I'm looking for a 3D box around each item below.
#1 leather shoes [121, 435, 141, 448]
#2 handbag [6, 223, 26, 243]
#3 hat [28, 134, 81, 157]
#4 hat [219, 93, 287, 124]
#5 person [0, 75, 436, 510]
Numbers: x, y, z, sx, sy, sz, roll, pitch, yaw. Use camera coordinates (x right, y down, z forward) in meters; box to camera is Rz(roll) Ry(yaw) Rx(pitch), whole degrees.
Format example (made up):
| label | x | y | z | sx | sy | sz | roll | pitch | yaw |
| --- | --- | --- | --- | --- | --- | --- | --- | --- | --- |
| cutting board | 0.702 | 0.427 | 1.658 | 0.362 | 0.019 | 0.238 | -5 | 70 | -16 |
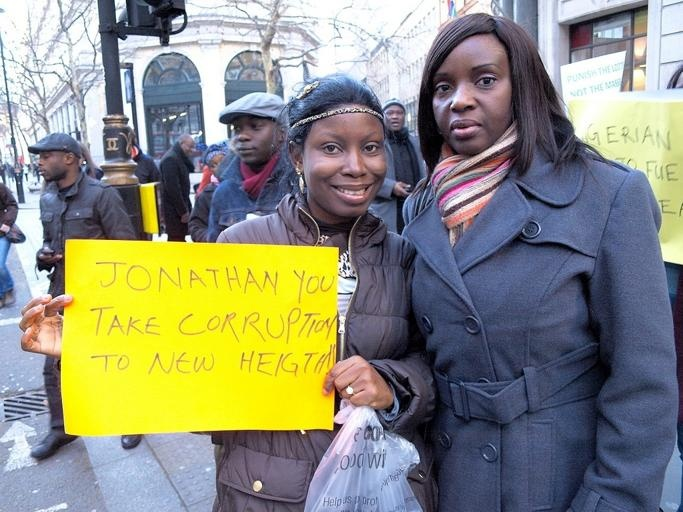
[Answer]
| label | x | y | z | sx | sy | sz | roll | pitch | yaw |
| --- | --- | --- | --- | --- | --- | --- | --- | --- | --- |
| leather shoes | -1.535 | 1.332 | 4.619 | 0.091 | 0.068 | 0.161 | 0 | -11 | -4 |
| handbag | -4.485 | -0.288 | 8.696 | 0.097 | 0.270 | 0.201 | -12 | 32 | 31 |
| hat | -2.334 | -0.921 | 5.184 | 0.326 | 0.152 | 0.225 | 1 | -2 | -21 |
| hat | -0.570 | -0.971 | 4.127 | 0.433 | 0.149 | 0.306 | -8 | -3 | -15 |
| person | -0.105 | 0.147 | 2.487 | 0.893 | 1.688 | 0.561 | -3 | 10 | 6 |
